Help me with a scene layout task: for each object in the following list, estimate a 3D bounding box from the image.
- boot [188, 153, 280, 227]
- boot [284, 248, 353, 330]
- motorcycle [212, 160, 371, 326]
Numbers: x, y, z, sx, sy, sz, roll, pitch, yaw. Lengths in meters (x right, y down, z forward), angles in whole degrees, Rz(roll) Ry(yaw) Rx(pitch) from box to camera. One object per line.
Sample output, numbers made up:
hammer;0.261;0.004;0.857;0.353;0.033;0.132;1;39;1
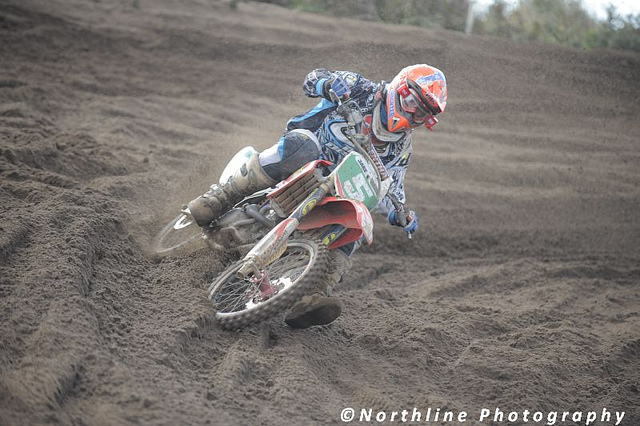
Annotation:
boot;-1.010;-0.230;9.447;0.996;0.384;0.422;-32;25;-11
boot;-0.047;0.798;8.893;0.515;0.239;0.897;-11;25;21
motorcycle;-0.399;0.273;8.975;1.608;1.418;1.305;-15;36;-28
